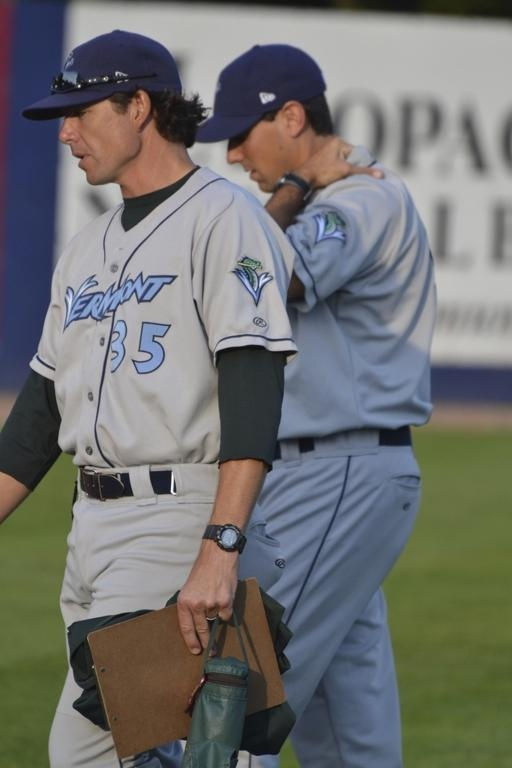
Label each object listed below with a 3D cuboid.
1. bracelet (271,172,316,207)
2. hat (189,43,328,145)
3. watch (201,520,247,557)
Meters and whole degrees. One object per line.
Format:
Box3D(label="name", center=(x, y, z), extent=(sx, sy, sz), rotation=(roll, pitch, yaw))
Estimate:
Box3D(label="bracelet", center=(0.113, -0.559, 3.196), extent=(0.103, 0.071, 0.112), rotation=(38, 8, 13))
Box3D(label="hat", center=(0.015, -0.873, 3.350), extent=(0.448, 0.235, 0.306), rotation=(-19, 6, -3))
Box3D(label="watch", center=(-0.056, 0.272, 2.011), extent=(0.070, 0.041, 0.064), rotation=(15, -17, 2))
